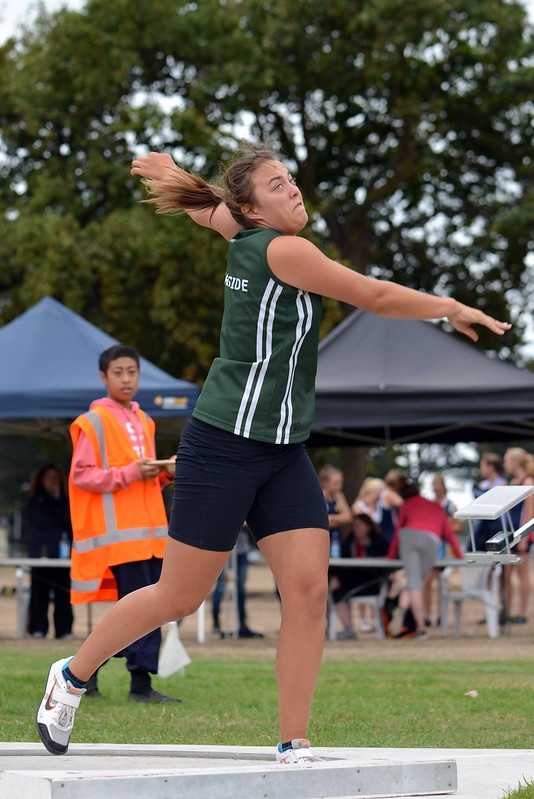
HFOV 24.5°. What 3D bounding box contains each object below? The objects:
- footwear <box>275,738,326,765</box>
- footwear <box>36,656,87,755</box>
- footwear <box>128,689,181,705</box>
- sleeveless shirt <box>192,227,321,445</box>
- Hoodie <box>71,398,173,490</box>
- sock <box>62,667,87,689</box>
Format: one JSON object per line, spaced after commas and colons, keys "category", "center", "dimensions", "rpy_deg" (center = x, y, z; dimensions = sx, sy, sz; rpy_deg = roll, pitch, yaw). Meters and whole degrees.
{"category": "footwear", "center": [0.080, 0.993, 3.473], "dimensions": [0.056, 0.061, 0.159], "rpy_deg": [5, -12, -39]}
{"category": "footwear", "center": [-0.637, 0.955, 3.837], "dimensions": [0.127, 0.317, 0.162], "rpy_deg": [23, -40, -39]}
{"category": "footwear", "center": [-0.567, 1.481, 6.167], "dimensions": [0.273, 0.079, 0.083], "rpy_deg": [-2, -6, 8]}
{"category": "sleeveless shirt", "center": [-0.026, -0.186, 3.589], "dimensions": [0.377, 0.639, 0.171], "rpy_deg": [0, -6, -2]}
{"category": "Hoodie", "center": [-0.716, 0.203, 5.888], "dimensions": [0.504, 0.418, 0.501], "rpy_deg": [-2, -2, 20]}
{"category": "sock", "center": [-0.597, 0.861, 3.804], "dimensions": [0.040, 0.089, 0.044], "rpy_deg": [-15, 11, -32]}
